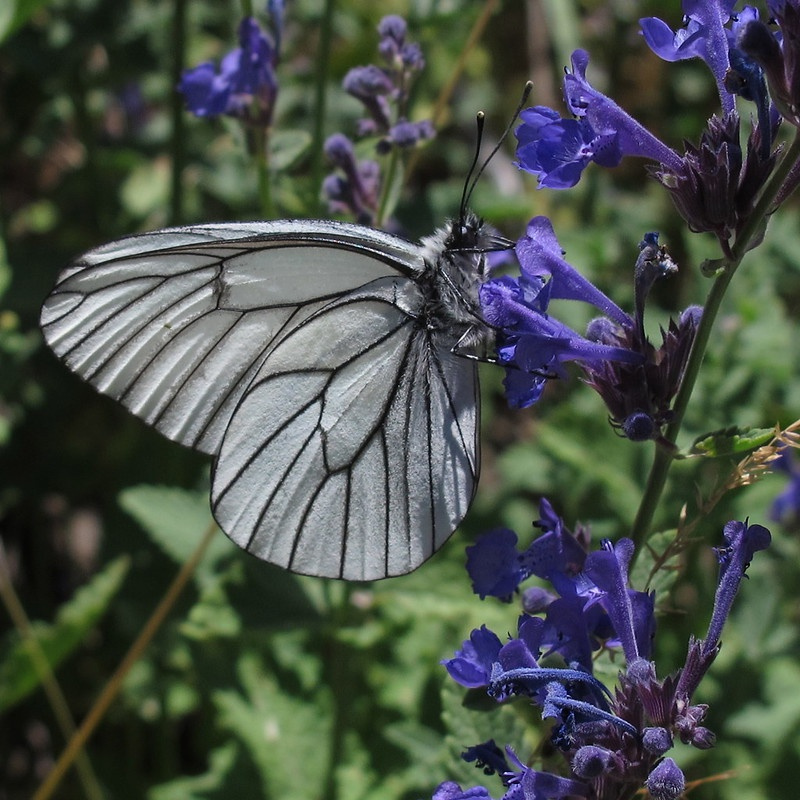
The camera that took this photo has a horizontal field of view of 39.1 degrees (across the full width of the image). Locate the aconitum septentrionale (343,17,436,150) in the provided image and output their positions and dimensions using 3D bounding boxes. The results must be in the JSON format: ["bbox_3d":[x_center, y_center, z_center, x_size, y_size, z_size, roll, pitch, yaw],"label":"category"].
[{"bbox_3d":[-0.036,-0.819,2.990,0.223,0.333,0.314,-14,72,-5],"label":"aconitum septentrionale"}]

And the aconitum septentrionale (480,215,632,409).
[{"bbox_3d":[0.351,-0.191,2.521,0.316,0.381,0.326,-15,72,-6],"label":"aconitum septentrionale"}]

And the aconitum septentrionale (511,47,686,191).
[{"bbox_3d":[0.383,-0.561,2.506,0.337,0.317,0.187,28,87,-4],"label":"aconitum septentrionale"}]
